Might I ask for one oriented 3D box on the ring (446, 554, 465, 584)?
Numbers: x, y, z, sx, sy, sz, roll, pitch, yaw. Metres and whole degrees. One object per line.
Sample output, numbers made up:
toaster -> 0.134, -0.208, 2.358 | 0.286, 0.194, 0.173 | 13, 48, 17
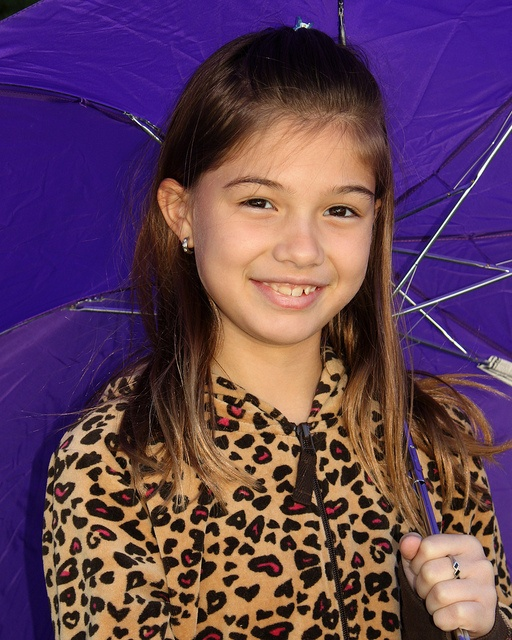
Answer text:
ring -> 0.495, 0.612, 1.612 | 0.014, 0.040, 0.045 | -19, -9, 5
